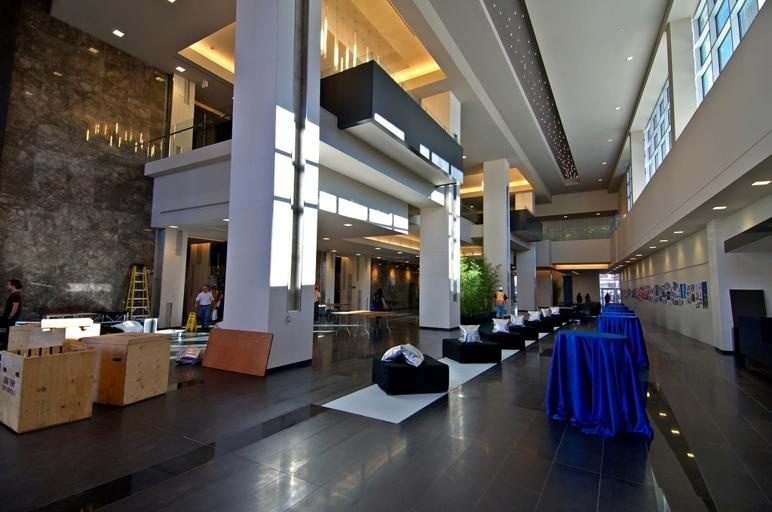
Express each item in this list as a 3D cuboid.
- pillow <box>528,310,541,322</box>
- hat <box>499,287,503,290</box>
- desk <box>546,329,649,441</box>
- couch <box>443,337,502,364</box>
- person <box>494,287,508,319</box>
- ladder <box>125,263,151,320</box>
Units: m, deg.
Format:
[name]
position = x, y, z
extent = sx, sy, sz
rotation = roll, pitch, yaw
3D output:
[pillow]
position = 5.180, 2.075, 16.327
extent = 0.410, 0.375, 0.166
rotation = 1, -4, -4
[hat]
position = 4.630, 1.301, 18.824
extent = 0.200, 0.116, 0.202
rotation = -1, 0, -15
[desk]
position = 3.766, 2.219, 8.465
extent = 1.797, 1.624, 1.102
rotation = 2, 4, 41
[couch]
position = 2.122, 2.358, 11.667
extent = 1.405, 0.563, 0.698
rotation = -1, -9, 10
[person]
position = 4.436, 1.748, 18.094
extent = 0.387, 1.225, 1.761
rotation = -1, -9, 12
[ladder]
position = -8.019, 1.133, 15.399
extent = 0.801, 1.774, 0.390
rotation = 7, -11, -36
